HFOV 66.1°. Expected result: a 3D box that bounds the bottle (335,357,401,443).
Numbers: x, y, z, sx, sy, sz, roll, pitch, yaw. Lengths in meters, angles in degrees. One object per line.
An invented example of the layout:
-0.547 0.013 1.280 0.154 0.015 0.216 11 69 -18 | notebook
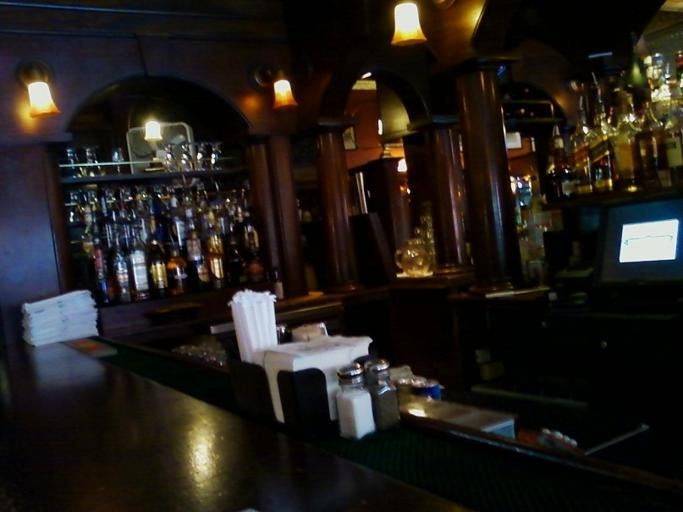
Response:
0.063 0.377 1.346 0.186 0.211 0.076 -8 10 -30 | bottle

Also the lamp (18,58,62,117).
-2.231 -1.237 3.848 0.217 0.434 0.370 -9 4 -26 | lamp

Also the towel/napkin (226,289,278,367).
-0.258 0.211 1.595 0.141 0.181 0.283 -8 4 -12 | towel/napkin

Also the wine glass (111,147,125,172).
-2.002 -0.851 4.710 0.099 0.231 0.565 -9 4 -21 | wine glass

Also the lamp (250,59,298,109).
-0.502 -1.506 4.416 0.297 0.470 0.332 -8 7 0 | lamp

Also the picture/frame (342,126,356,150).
0.117 -1.584 7.061 0.115 0.221 0.214 -6 4 17 | picture/frame

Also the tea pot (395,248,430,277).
0.631 0.066 4.739 0.297 0.219 0.232 -1 0 29 | tea pot

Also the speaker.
0.285 -0.059 4.867 0.156 0.465 0.458 -11 5 -44 | speaker
